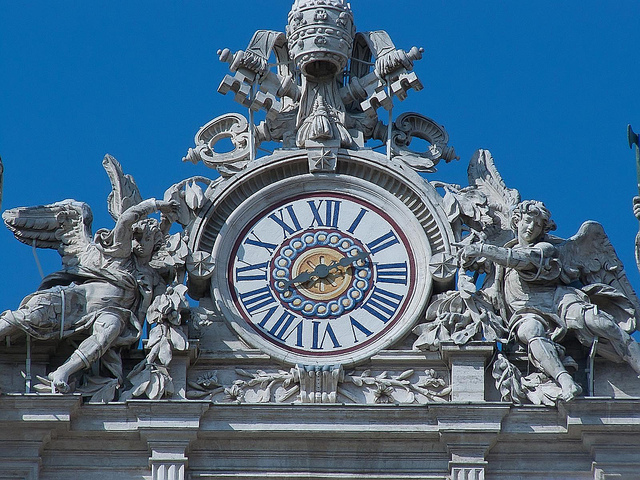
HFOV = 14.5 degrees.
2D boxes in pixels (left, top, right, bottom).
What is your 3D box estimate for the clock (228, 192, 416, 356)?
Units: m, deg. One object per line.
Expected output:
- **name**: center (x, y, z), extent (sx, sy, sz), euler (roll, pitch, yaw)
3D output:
- **clock**: center (-0.022, 0.433, 34.414), extent (2.483, 2.291, 1.216), euler (5, -55, 1)
